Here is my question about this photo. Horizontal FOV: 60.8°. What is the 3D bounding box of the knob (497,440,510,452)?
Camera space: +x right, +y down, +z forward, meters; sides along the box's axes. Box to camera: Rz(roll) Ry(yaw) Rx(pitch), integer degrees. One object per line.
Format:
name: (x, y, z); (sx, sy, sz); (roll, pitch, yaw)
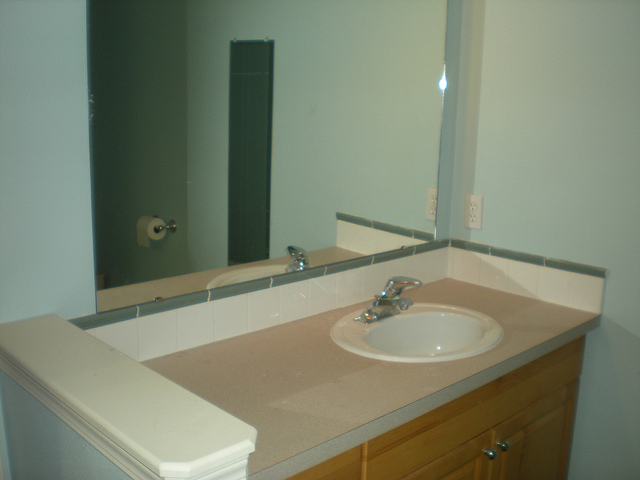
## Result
knob: (0.623, 0.696, 1.844); (0.052, 0.033, 0.035); (13, -9, -32)

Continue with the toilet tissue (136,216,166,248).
toilet tissue: (-0.526, -0.048, 1.694); (0.071, 0.102, 0.104); (-12, 19, -39)

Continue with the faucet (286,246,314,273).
faucet: (-0.069, 0.071, 1.987); (0.080, 0.091, 0.074); (-4, 4, -30)

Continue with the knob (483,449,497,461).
knob: (0.568, 0.716, 1.821); (0.047, 0.028, 0.028); (18, 8, -37)
